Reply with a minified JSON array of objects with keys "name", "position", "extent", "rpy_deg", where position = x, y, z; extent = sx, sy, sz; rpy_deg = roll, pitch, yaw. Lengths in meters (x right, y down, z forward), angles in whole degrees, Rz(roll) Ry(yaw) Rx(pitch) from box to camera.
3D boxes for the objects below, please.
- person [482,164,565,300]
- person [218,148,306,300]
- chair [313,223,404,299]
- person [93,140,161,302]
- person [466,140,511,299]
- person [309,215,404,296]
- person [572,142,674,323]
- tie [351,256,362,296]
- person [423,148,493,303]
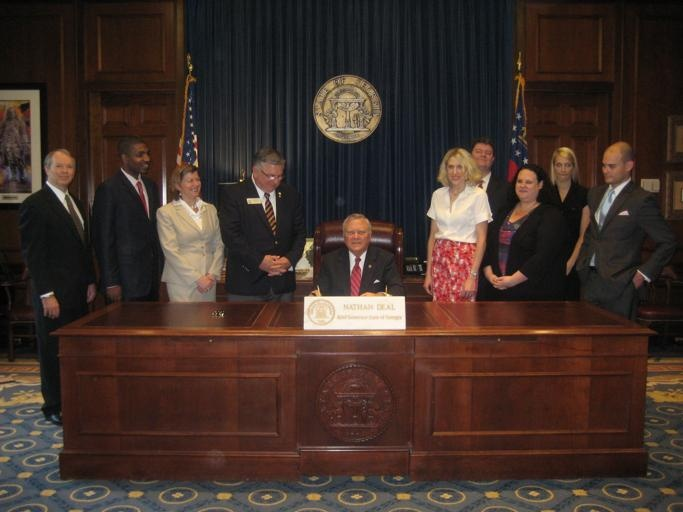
[{"name":"person","position":[1.362,-0.167,5.130],"extent":[0.474,1.008,0.459],"rpy_deg":[-5,9,-29]},{"name":"person","position":[-0.595,-0.229,5.126],"extent":[0.621,1.133,0.354],"rpy_deg":[-1,8,-4]},{"name":"chair","position":[0.111,0.069,5.008],"extent":[0.655,0.881,0.500],"rpy_deg":[-1,0,-1]},{"name":"person","position":[-1.624,-0.268,5.246],"extent":[0.554,1.230,0.298],"rpy_deg":[-7,10,-37]},{"name":"person","position":[1.148,-0.321,5.564],"extent":[0.444,1.364,0.430],"rpy_deg":[3,-20,0]},{"name":"person","position":[0.082,0.164,4.850],"extent":[0.633,0.871,0.476],"rpy_deg":[1,5,0]},{"name":"person","position":[2.068,-0.194,5.051],"extent":[0.672,1.253,0.345],"rpy_deg":[5,10,35]},{"name":"tie","position":[0.096,0.133,4.828],"extent":[0.080,0.263,0.075],"rpy_deg":[-1,8,1]},{"name":"person","position":[0.863,-0.232,5.192],"extent":[0.501,1.143,0.461],"rpy_deg":[2,9,16]}]
